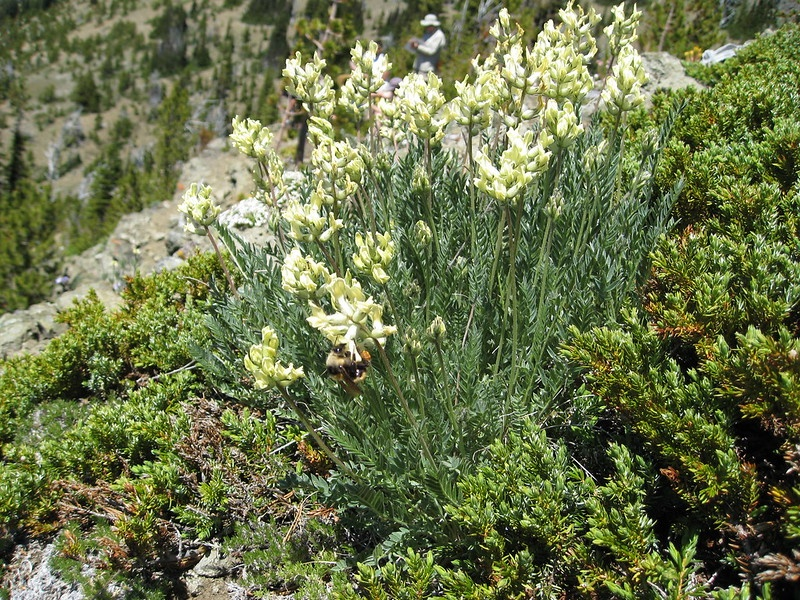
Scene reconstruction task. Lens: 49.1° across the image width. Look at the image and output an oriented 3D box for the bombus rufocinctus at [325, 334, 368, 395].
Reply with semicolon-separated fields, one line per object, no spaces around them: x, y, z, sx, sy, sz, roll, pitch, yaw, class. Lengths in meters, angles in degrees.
-0.301;0.390;5.067;0.228;0.339;0.155;32;70;8;bombus rufocinctus
